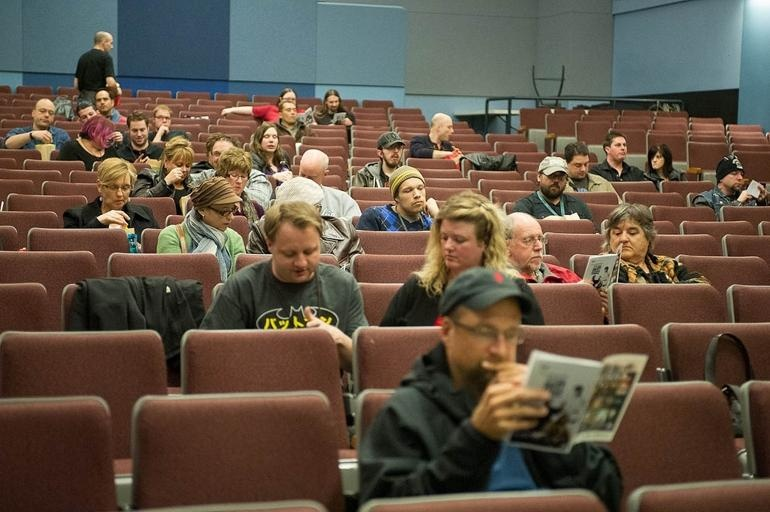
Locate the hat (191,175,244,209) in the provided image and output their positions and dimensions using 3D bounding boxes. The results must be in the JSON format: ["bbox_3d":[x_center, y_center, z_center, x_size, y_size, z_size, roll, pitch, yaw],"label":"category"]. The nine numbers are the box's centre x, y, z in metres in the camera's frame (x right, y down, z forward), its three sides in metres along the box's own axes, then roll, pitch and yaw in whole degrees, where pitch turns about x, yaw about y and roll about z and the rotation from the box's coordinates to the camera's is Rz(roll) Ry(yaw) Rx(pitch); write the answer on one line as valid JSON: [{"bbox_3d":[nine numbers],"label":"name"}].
[{"bbox_3d":[-1.210,-0.466,5.139,0.282,0.173,0.205,0,15,10],"label":"hat"}]

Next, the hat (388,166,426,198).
[{"bbox_3d":[0.160,-0.632,6.075,0.215,0.166,0.281,-7,5,-4],"label":"hat"}]

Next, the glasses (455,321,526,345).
[{"bbox_3d":[0.417,0.309,2.862,0.279,0.082,0.042,2,7,3],"label":"glasses"}]

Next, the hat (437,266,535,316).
[{"bbox_3d":[0.410,0.142,2.864,0.281,0.125,0.206,-5,-4,40],"label":"hat"}]
